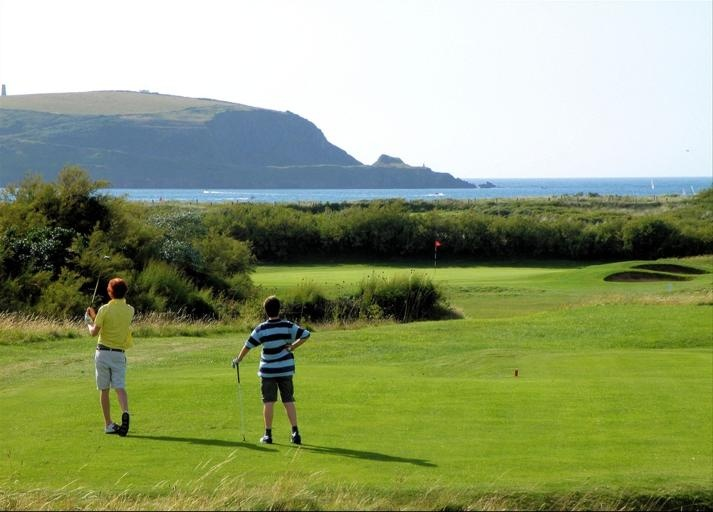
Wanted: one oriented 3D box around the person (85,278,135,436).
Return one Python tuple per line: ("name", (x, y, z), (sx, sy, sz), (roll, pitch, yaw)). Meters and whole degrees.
("person", (-5.807, 2.228, 25.167), (1.124, 3.573, 1.024), (1, 4, -11))
